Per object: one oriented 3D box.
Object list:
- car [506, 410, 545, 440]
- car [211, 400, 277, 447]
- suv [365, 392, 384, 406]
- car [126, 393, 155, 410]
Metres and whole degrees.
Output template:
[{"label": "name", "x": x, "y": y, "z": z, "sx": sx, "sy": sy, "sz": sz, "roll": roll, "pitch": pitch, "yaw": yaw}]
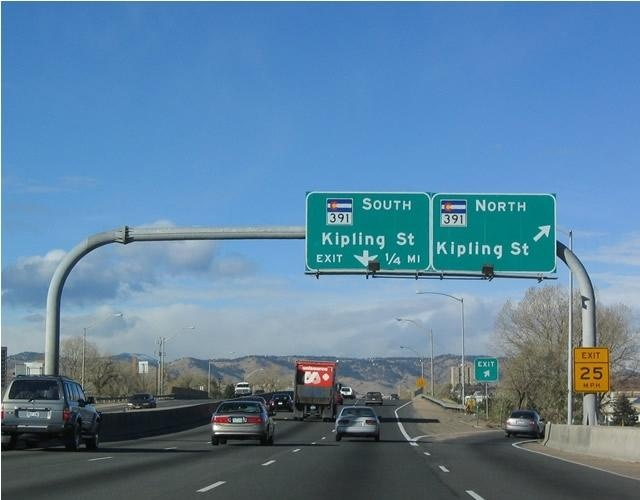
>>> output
[{"label": "car", "x": 11.355, "y": 9.694, "z": 52.631, "sx": 2.017, "sy": 1.480, "sz": 1.098, "roll": -3, "pitch": -9, "yaw": -2}, {"label": "car", "x": -3.172, "y": 7.109, "z": 39.010, "sx": 2.201, "sy": 2.051, "sz": 4.080, "roll": 1, "pitch": -11, "yaw": 0}, {"label": "suv", "x": 5.294, "y": 14.776, "z": 94.145, "sx": 1.730, "sy": 1.412, "sz": 3.823, "roll": -4, "pitch": -10, "yaw": 1}, {"label": "car", "x": -15.030, "y": 12.726, "z": 79.711, "sx": 2.219, "sy": 1.344, "sz": 2.637, "roll": -1, "pitch": -10, "yaw": -16}]
